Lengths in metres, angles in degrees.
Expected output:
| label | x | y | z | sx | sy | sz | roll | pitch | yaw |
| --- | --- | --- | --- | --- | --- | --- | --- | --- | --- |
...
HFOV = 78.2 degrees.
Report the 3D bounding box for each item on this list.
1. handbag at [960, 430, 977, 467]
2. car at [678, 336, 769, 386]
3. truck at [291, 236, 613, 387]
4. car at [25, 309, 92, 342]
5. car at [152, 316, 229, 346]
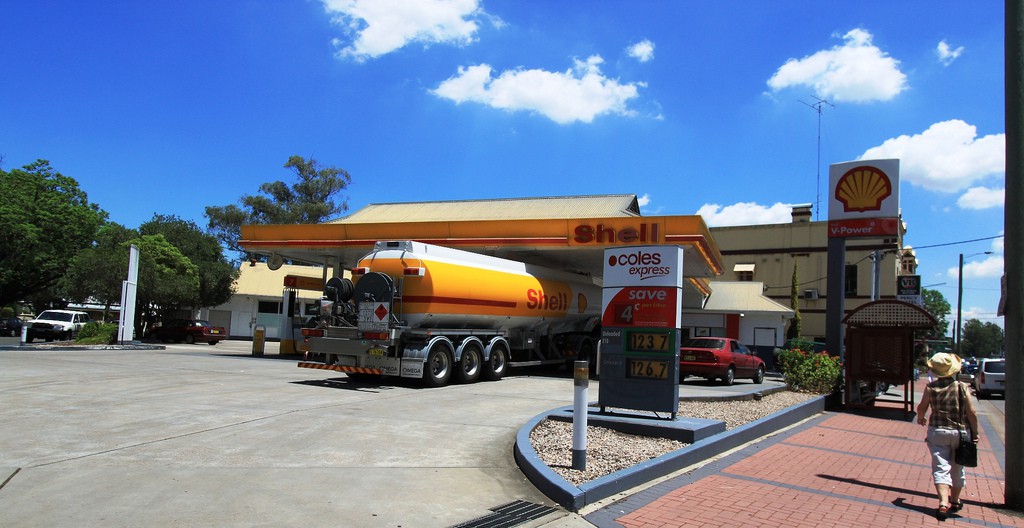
| label | x | y | z | sx | sy | sz | roll | pitch | yaw |
| --- | --- | --- | --- | --- | --- | --- | --- | --- | --- |
| handbag | 10.497 | 4.249 | 14.544 | 0.418 | 0.742 | 0.374 | 9 | 14 | 27 |
| car | 9.393 | 4.492 | 28.311 | 4.099 | 2.447 | 1.931 | -7 | 15 | -36 |
| truck | -0.812 | 2.434 | 29.290 | 5.209 | 5.203 | 18.093 | 1 | -5 | 32 |
| car | -30.890 | 4.147 | 42.558 | 2.628 | 1.621 | 3.459 | -4 | 13 | -25 |
| car | -24.425 | 4.986 | 46.567 | 4.986 | 1.415 | 2.249 | 3 | -4 | 16 |
